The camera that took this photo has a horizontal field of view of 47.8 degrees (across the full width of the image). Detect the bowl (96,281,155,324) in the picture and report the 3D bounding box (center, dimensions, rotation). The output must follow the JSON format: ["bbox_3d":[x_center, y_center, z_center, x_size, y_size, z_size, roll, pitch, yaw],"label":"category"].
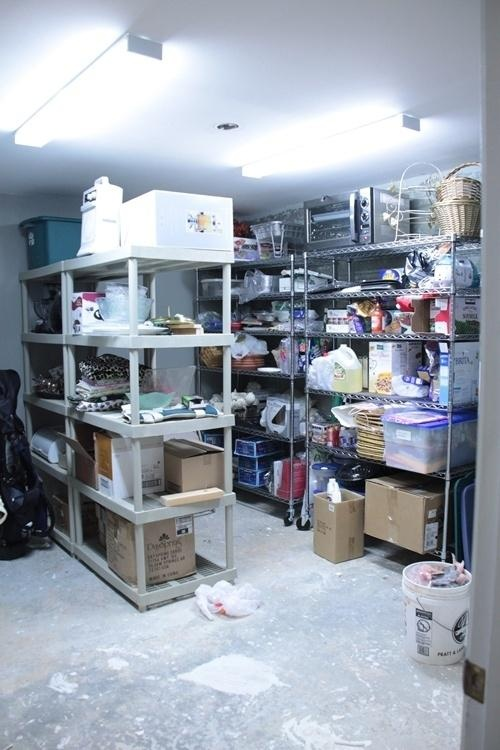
[{"bbox_3d":[-0.645,-0.361,2.843,0.281,0.201,0.264,0,1,0],"label":"bowl"}]

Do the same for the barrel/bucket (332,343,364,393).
[{"bbox_3d":[0.597,-0.029,3.478,0.161,0.300,0.274,-9,17,-28],"label":"barrel/bucket"}]

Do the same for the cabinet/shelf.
[{"bbox_3d":[-0.125,0.092,3.685,2.148,1.882,2.858,-3,4,-33],"label":"cabinet/shelf"}]

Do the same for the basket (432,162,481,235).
[{"bbox_3d":[1.013,-0.848,2.757,0.218,0.363,0.281,0,3,18],"label":"basket"}]

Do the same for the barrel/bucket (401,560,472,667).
[{"bbox_3d":[0.739,0.934,2.205,0.262,0.368,0.265,-1,3,0],"label":"barrel/bucket"}]

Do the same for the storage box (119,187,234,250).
[{"bbox_3d":[-0.340,-0.710,2.677,0.522,0.277,0.413,-2,3,-16],"label":"storage box"}]
